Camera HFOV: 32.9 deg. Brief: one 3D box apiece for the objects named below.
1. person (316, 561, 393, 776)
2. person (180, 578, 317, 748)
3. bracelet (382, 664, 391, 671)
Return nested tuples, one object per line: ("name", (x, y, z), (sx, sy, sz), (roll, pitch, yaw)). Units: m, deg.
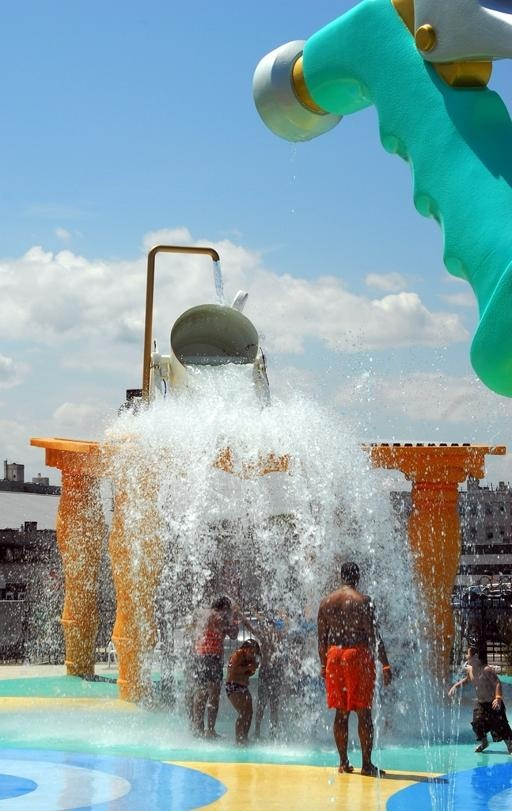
("person", (0.663, 1.757, 5.874), (0.489, 1.383, 0.523), (0, -10, 6))
("person", (-0.169, 2.171, 7.321), (0.715, 1.132, 1.104), (-1, -10, 10))
("bracelet", (0.870, 1.735, 5.777), (0.044, 0.041, 0.043), (4, -5, -13))
